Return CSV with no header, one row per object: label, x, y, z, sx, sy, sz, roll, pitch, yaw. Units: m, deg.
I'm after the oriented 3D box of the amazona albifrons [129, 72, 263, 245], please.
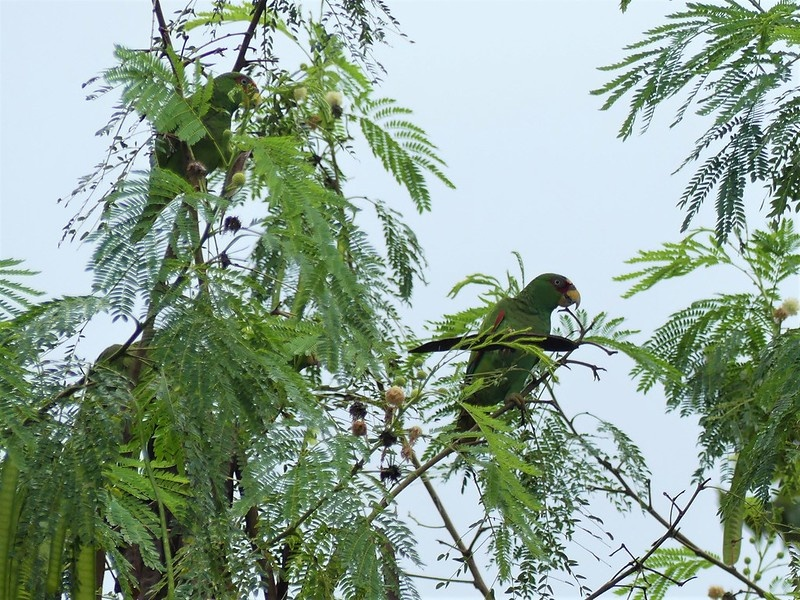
amazona albifrons,-0.777,-0.558,3.817,0.462,0.246,0.574,4,-90,5
